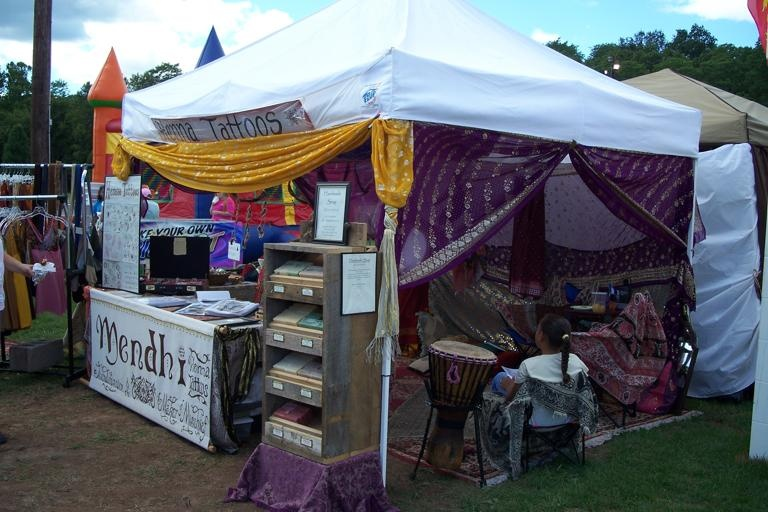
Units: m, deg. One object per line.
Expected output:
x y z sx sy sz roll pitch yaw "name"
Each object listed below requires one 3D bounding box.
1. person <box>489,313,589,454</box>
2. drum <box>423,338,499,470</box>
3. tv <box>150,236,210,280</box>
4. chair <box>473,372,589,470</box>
1.371 1.194 6.341 0.810 1.156 1.121 1 1 -29 "person"
0.729 1.504 6.523 0.848 1.250 0.715 6 22 5 "drum"
-2.535 0.023 7.802 0.735 0.516 0.137 0 5 -5 "tv"
1.485 1.564 6.638 0.808 1.068 1.142 -2 14 -18 "chair"
